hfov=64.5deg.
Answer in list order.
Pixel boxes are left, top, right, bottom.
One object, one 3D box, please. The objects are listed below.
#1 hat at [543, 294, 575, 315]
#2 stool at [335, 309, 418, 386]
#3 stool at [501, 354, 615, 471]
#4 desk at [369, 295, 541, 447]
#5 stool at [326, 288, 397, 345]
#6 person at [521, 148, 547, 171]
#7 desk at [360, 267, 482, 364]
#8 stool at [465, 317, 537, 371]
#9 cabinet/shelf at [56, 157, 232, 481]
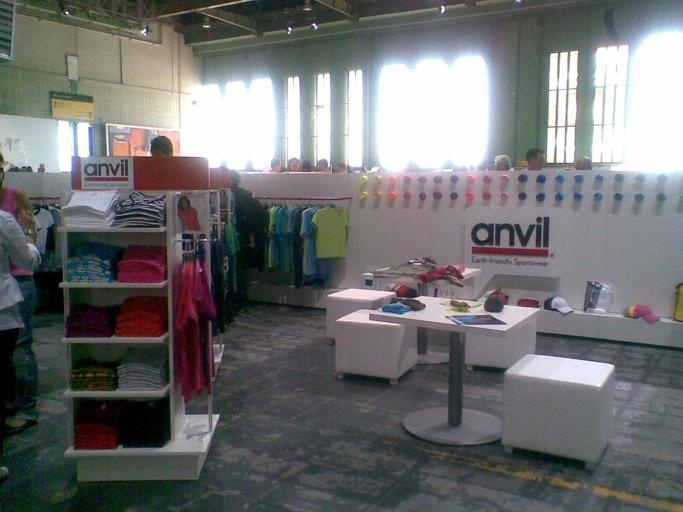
[{"bbox_3d":[2.742,0.609,6.846,0.292,0.164,0.190,11,15,36],"label":"hat"},{"bbox_3d":[0.393,0.822,5.572,0.729,0.620,0.761,1,1,27],"label":"stool"},{"bbox_3d":[1.677,1.070,4.149,0.663,0.706,0.706,3,5,29],"label":"stool"},{"bbox_3d":[1.042,1.003,4.517,1.122,1.061,1.181,2,5,19],"label":"desk"},{"bbox_3d":[0.187,0.638,6.522,0.619,0.530,0.654,1,7,14],"label":"stool"},{"bbox_3d":[2.648,-1.317,7.379,0.191,0.294,0.969,3,10,17],"label":"person"},{"bbox_3d":[1.025,0.566,6.392,1.128,1.198,1.184,1,3,19],"label":"desk"},{"bbox_3d":[1.633,0.956,5.544,0.709,0.584,0.706,-1,0,31],"label":"stool"},{"bbox_3d":[-1.447,0.423,3.886,1.100,2.223,0.644,0,9,-1],"label":"cabinet/shelf"}]
